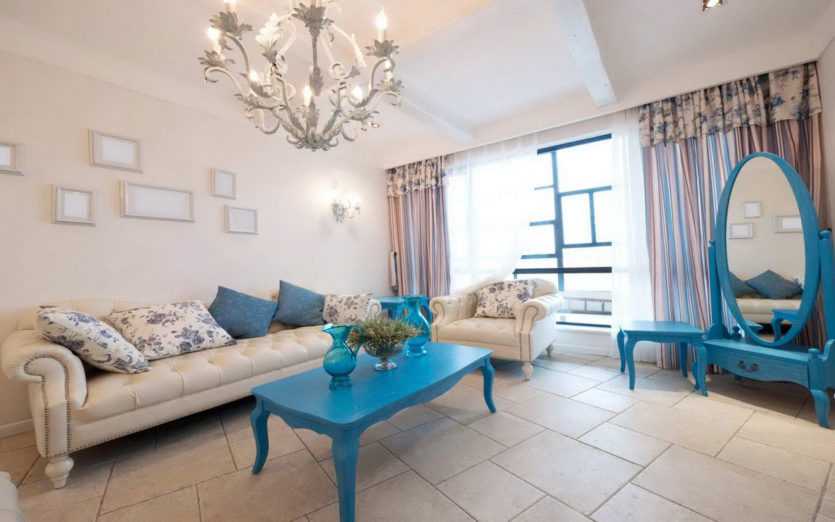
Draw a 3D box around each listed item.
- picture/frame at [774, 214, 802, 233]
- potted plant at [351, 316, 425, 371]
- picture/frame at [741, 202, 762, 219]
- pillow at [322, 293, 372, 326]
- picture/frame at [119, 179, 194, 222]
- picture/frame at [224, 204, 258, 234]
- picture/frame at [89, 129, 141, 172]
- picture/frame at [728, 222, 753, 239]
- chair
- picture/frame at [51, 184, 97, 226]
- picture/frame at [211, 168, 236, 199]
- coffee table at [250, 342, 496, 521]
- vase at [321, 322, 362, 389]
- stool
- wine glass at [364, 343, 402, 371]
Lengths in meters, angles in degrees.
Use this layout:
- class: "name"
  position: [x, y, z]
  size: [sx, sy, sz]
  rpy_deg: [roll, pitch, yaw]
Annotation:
- class: "picture/frame"
  position: [3.543, -0.349, 4.600]
  size: [0.049, 0.138, 0.212]
  rpy_deg: [-2, 4, -15]
- class: "potted plant"
  position: [-0.336, 0.744, 4.405]
  size: [0.508, 0.344, 0.492]
  rpy_deg: [1, -9, -10]
- class: "picture/frame"
  position: [3.334, -0.503, 4.784]
  size: [0.180, 0.194, 0.022]
  rpy_deg: [-2, -10, 44]
- class: "pillow"
  position: [-0.822, 0.577, 5.602]
  size: [0.361, 0.235, 0.127]
  rpy_deg: [2, -33, 18]
- class: "picture/frame"
  position: [-2.786, -0.631, 5.068]
  size: [0.106, 0.271, 0.508]
  rpy_deg: [-7, -8, 41]
- class: "picture/frame"
  position: [-2.078, -0.482, 5.606]
  size: [0.069, 0.302, 0.372]
  rpy_deg: [-7, -7, 42]
- class: "picture/frame"
  position: [-3.098, -1.109, 4.881]
  size: [0.505, 0.354, 0.080]
  rpy_deg: [2, -5, -42]
- class: "picture/frame"
  position: [3.255, -0.302, 4.832]
  size: [0.020, 0.157, 0.173]
  rpy_deg: [6, -6, -37]
- class: "chair"
  position: [0.991, 0.838, 5.792]
  size: [1.606, 1.199, 1.126]
  rpy_deg: [-6, -12, 34]
- class: "picture/frame"
  position: [-3.377, -0.540, 4.693]
  size: [0.051, 0.474, 0.431]
  rpy_deg: [-4, -5, 41]
- class: "picture/frame"
  position: [-2.238, -0.878, 5.506]
  size: [0.073, 0.406, 0.383]
  rpy_deg: [-4, -5, 37]
- class: "coffee table"
  position: [-0.352, 1.412, 4.231]
  size: [1.991, 1.208, 0.956]
  rpy_deg: [-2, 0, -33]
- class: "vase"
  position: [-0.641, 0.807, 4.147]
  size: [0.391, 0.509, 0.309]
  rpy_deg: [1, -4, -23]
- class: "stool"
  position: [2.533, 0.971, 5.052]
  size: [0.755, 0.604, 0.743]
  rpy_deg: [-1, -3, 14]
- class: "wine glass"
  position: [-0.303, 0.862, 4.340]
  size: [0.294, 0.197, 0.279]
  rpy_deg: [0, -15, -3]
